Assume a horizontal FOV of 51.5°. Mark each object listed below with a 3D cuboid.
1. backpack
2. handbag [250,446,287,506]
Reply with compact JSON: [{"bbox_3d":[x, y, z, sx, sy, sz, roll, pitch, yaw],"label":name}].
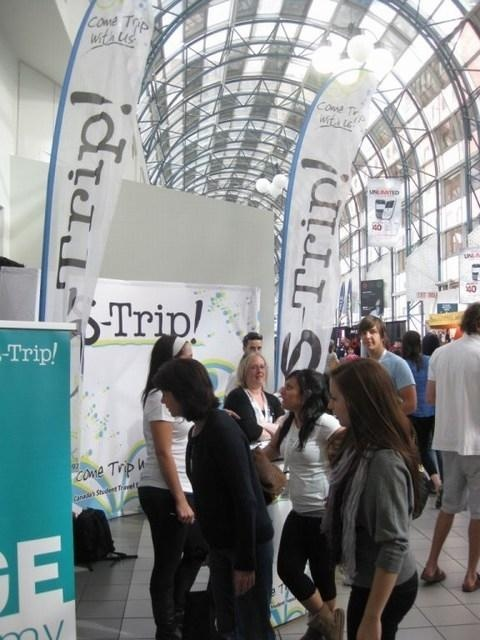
[{"bbox_3d":[-0.992,1.470,3.449,0.316,0.382,0.305,-3,-2,-27],"label":"backpack"},{"bbox_3d":[0.118,0.634,2.036,0.160,0.067,0.189,29,13,19],"label":"handbag"}]
